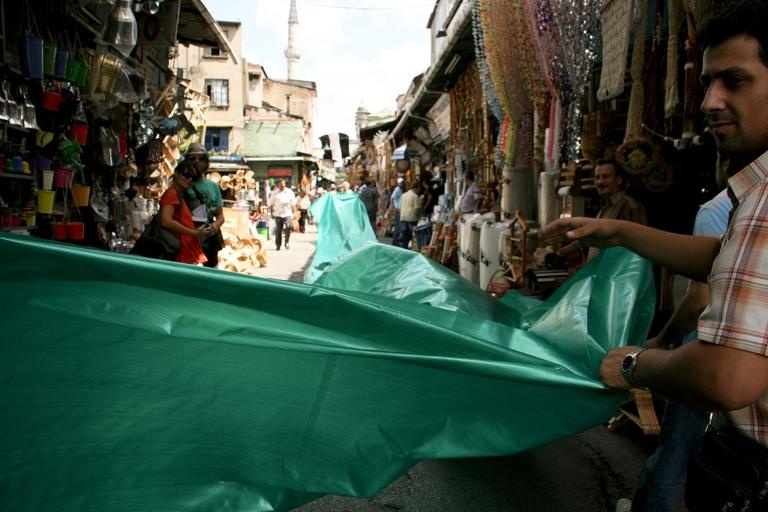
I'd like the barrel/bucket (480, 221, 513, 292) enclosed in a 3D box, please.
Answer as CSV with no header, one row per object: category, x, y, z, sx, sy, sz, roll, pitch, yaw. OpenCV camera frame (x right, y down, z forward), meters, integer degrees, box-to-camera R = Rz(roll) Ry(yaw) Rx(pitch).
barrel/bucket,1.531,0.003,8.188,0.349,0.975,1.233,4,6,7

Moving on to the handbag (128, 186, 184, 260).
handbag,-2.203,-0.213,5.550,0.427,0.484,0.290,0,7,-26

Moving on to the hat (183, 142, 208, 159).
hat,-2.010,-1.132,6.100,0.215,0.163,0.303,1,6,-22
